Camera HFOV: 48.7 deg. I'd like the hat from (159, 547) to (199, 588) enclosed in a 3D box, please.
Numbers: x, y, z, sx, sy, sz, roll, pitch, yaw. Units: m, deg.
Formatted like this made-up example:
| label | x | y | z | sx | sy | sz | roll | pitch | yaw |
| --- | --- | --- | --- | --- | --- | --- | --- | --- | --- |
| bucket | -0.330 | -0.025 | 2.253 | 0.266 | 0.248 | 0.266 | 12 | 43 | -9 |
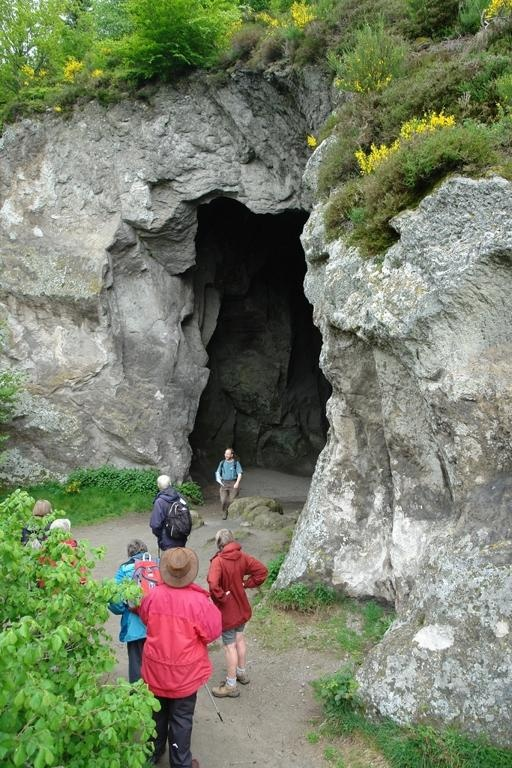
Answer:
| label | x | y | z | sx | sy | sz | roll | pitch | yaw |
| --- | --- | --- | --- | --- | --- | --- | --- | --- | --- |
| hat | -0.459 | 1.094 | 3.355 | 0.218 | 0.256 | 0.183 | 4 | 9 | -10 |
